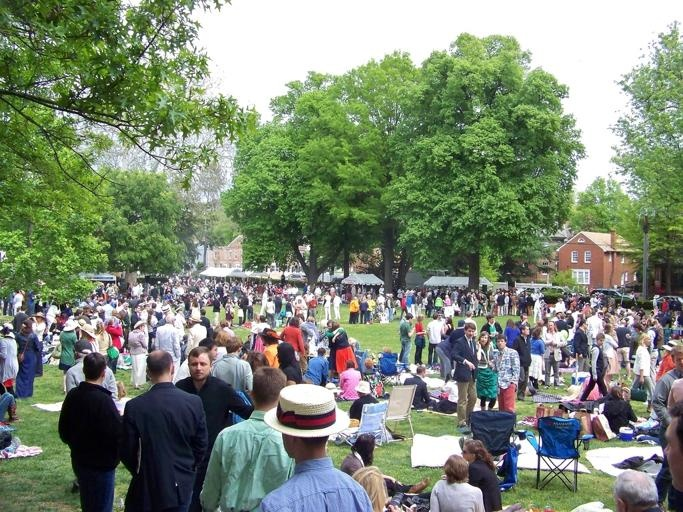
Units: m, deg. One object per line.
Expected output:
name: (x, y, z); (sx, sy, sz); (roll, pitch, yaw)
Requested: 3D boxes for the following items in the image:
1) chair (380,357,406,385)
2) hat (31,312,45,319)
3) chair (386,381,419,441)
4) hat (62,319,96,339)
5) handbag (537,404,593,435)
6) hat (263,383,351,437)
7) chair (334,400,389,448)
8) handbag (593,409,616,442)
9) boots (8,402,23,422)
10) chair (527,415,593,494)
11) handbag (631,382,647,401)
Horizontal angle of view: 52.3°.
chair: (1.577, 3.385, 20.584); (0.794, 1.112, 0.852); (2, -19, -7)
hat: (-9.396, 1.892, 21.726); (0.393, 0.119, 0.421); (0, 0, 6)
chair: (1.206, 3.646, 16.196); (0.800, 1.287, 0.989); (3, -4, -19)
hat: (-6.630, 1.703, 17.320); (0.731, 0.228, 0.758); (25, 3, -9)
handbag: (4.561, 3.384, 14.242); (0.830, 0.628, 0.463); (3, -4, -26)
hat: (-0.376, 1.716, 7.680); (0.922, 0.544, 0.415); (5, -4, -5)
chair: (0.461, 3.747, 15.417); (1.263, 1.056, 1.048); (9, -21, -43)
handbag: (5.971, 3.896, 15.792); (0.188, 0.553, 0.541); (-23, -21, 38)
boots: (-7.320, 3.502, 15.540); (0.353, 0.473, 0.242); (-1, 5, -27)
chair: (4.280, 3.837, 13.791); (1.029, 1.369, 1.378); (2, -4, 20)
handbag: (8.163, 3.813, 19.163); (0.497, 0.580, 0.335); (-2, 3, 1)
